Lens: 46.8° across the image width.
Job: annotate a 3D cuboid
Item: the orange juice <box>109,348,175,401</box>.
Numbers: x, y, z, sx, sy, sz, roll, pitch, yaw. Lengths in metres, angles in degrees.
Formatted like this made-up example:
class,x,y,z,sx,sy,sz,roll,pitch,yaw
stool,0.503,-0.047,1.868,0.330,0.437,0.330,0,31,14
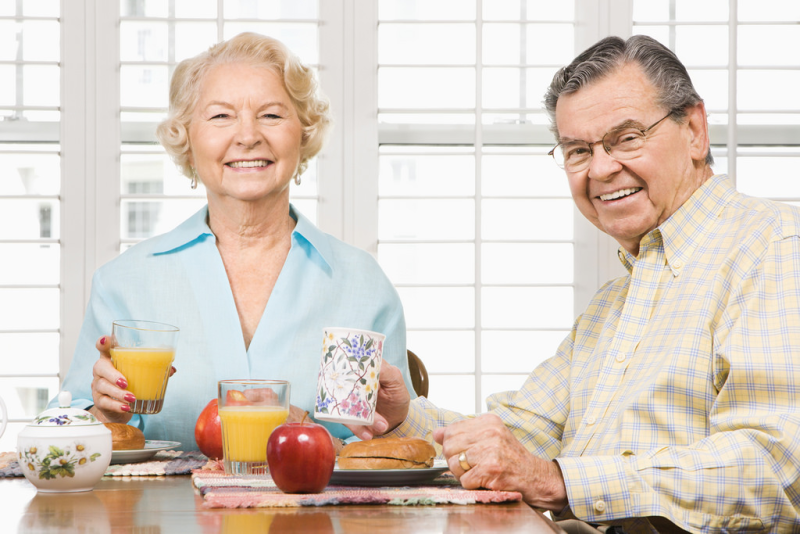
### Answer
class,x,y,z,sx,sy,sz,roll,pitch,yaw
orange juice,-0.578,0.232,2.064,0.128,0.110,0.119,-1,-3,-14

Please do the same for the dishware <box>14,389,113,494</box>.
class,x,y,z,sx,sy,sz,roll,pitch,yaw
dishware,-0.686,0.362,1.893,0.189,0.183,0.187,-1,-6,-13

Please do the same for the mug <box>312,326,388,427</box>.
class,x,y,z,sx,sy,sz,roll,pitch,yaw
mug,-0.101,0.227,1.939,0.151,0.183,0.162,2,-9,22

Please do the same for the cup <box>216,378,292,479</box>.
class,x,y,z,sx,sy,sz,roll,pitch,yaw
cup,-0.300,0.325,1.937,0.159,0.191,0.159,0,0,0

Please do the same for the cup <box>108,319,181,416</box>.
class,x,y,z,sx,sy,sz,roll,pitch,yaw
cup,-0.601,0.234,2.121,0.153,0.201,0.153,3,-9,0

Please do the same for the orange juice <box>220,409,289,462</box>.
class,x,y,z,sx,sy,sz,roll,pitch,yaw
orange juice,-0.307,0.335,1.866,0.108,0.090,0.119,2,-2,-10

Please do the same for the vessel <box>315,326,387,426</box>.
class,x,y,z,sx,sy,sz,roll,pitch,yaw
vessel,-0.102,0.223,1.886,0.115,0.201,0.094,4,-9,-36

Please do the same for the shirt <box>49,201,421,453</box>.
class,x,y,z,sx,sy,sz,roll,pitch,yaw
shirt,-0.414,0.152,2.582,1.049,0.845,0.578,1,-15,-4

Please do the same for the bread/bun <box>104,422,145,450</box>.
class,x,y,z,sx,sy,sz,roll,pitch,yaw
bread/bun,-0.619,0.380,2.068,0.073,0.036,0.072,9,-5,13

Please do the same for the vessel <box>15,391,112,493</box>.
class,x,y,z,sx,sy,sz,roll,pitch,yaw
vessel,-0.655,0.354,1.824,0.164,0.171,0.165,-1,-10,-2

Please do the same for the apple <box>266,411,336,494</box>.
class,x,y,z,sx,sy,sz,roll,pitch,yaw
apple,-0.190,0.367,1.821,0.123,0.121,0.127,2,-3,-5
